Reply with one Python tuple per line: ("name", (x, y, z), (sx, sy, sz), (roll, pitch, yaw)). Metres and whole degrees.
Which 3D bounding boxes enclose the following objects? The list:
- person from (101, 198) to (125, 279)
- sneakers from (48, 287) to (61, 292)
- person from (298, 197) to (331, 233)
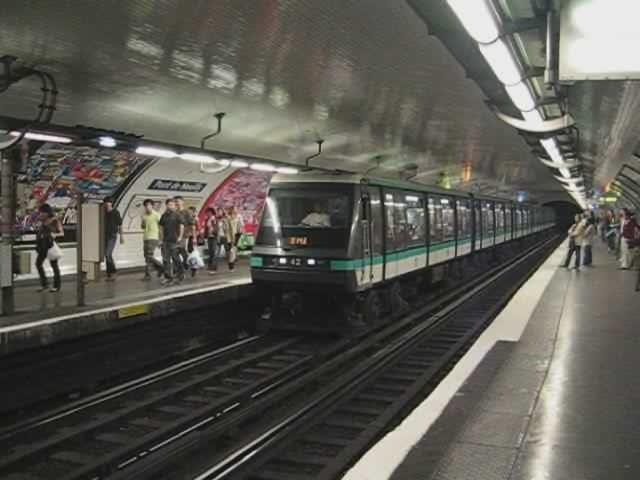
("person", (-5.644, -0.016, 11.977), (0.428, 2.170, 0.765), (-2, 6, -26))
("sneakers", (-6.204, 1.160, 10.295), (0.280, 0.119, 0.480), (5, -11, -42))
("person", (-0.092, -0.602, 10.290), (0.725, 0.667, 0.268), (4, 6, 30))
